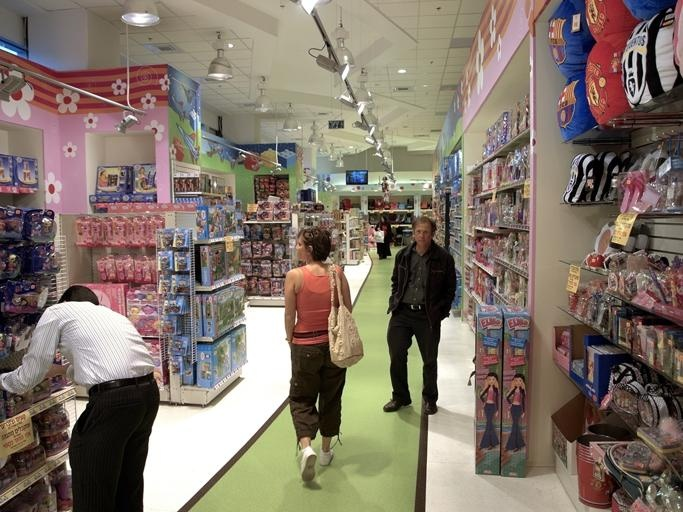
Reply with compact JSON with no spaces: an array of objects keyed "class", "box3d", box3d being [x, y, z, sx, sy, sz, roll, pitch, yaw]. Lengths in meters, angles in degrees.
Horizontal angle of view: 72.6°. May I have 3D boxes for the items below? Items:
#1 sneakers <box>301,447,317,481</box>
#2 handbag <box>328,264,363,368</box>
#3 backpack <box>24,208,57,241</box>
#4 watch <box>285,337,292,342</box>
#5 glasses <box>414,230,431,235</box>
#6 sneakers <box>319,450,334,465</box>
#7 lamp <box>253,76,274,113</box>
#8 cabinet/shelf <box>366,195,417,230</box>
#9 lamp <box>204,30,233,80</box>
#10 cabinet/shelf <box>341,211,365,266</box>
[{"class":"sneakers","box3d":[-0.254,1.573,3.543,0.115,0.293,0.120,-6,28,-19]},{"class":"handbag","box3d":[0.025,0.494,3.594,0.257,0.822,0.301,-1,6,-1]},{"class":"backpack","box3d":[-2.048,-0.248,3.182,0.196,0.282,0.153,1,39,-28]},{"class":"watch","box3d":[-0.414,0.660,3.649,0.038,0.040,0.040,0,-6,-7]},{"class":"glasses","box3d":[0.792,-0.230,4.534,0.157,0.061,0.072,1,6,14]},{"class":"sneakers","box3d":[-0.132,1.695,3.875,0.063,0.076,0.168,0,9,10]},{"class":"lamp","box3d":[-1.587,-3.325,9.387,0.301,0.658,0.283,-7,12,-38]},{"class":"cabinet/shelf","box3d":[3.286,-2.851,30.429,3.184,2.205,1.047,0,-4,6]},{"class":"lamp","box3d":[-1.996,-3.329,7.640,0.351,0.665,0.348,-6,18,-29]},{"class":"cabinet/shelf","box3d":[0.398,-0.296,18.563,0.623,2.009,2.039,0,-18,3]}]
